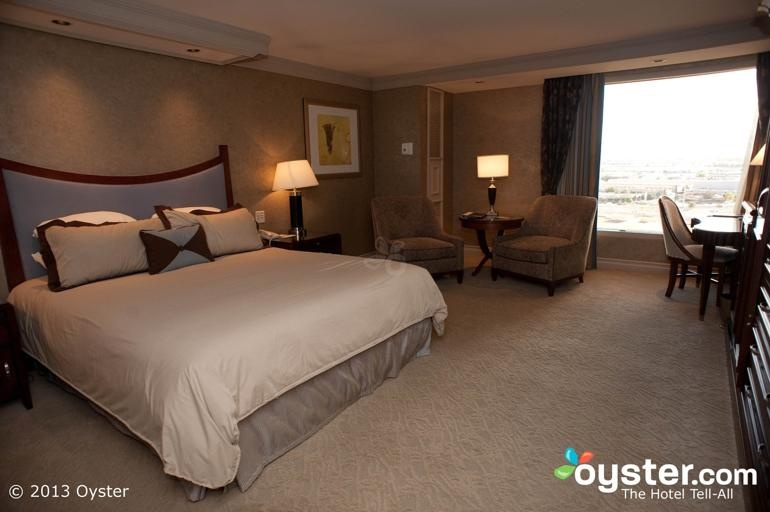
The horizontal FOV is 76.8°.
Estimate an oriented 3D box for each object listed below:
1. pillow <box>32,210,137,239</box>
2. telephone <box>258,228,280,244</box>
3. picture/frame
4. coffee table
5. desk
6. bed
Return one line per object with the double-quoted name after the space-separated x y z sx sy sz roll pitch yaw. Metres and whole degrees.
-2.850 -0.364 4.672 0.584 0.099 0.382 -7 33 -42 "pillow"
-1.414 -0.234 5.949 0.223 0.083 0.228 15 10 29 "telephone"
-0.751 -1.691 7.098 0.062 1.086 1.139 12 18 37 "picture/frame"
1.460 -0.283 7.060 0.938 0.879 0.994 -6 11 -28 "coffee table"
3.587 0.138 5.247 0.480 0.560 1.145 0 11 26 "desk"
-1.341 0.520 4.468 2.568 1.741 2.679 8 17 39 "bed"
